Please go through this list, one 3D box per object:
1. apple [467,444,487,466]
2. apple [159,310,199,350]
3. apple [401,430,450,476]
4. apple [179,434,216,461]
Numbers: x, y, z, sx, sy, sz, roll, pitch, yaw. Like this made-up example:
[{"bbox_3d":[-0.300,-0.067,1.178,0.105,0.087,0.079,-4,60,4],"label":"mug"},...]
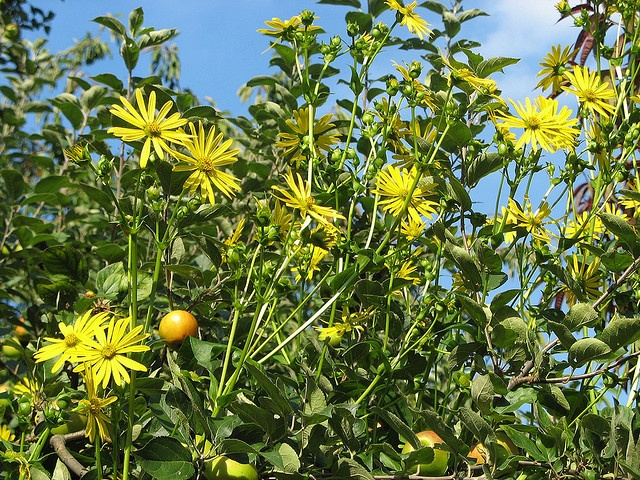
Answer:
[{"bbox_3d":[0.421,0.571,2.392,0.022,0.063,0.060,2,-32,-28],"label":"apple"},{"bbox_3d":[-0.391,0.242,2.514,0.087,0.104,0.098,3,-31,3],"label":"apple"},{"bbox_3d":[0.278,0.554,2.337,0.123,0.084,0.158,9,-5,6],"label":"apple"},{"bbox_3d":[-0.301,0.512,2.249,0.097,0.052,0.050,8,-4,20],"label":"apple"}]
